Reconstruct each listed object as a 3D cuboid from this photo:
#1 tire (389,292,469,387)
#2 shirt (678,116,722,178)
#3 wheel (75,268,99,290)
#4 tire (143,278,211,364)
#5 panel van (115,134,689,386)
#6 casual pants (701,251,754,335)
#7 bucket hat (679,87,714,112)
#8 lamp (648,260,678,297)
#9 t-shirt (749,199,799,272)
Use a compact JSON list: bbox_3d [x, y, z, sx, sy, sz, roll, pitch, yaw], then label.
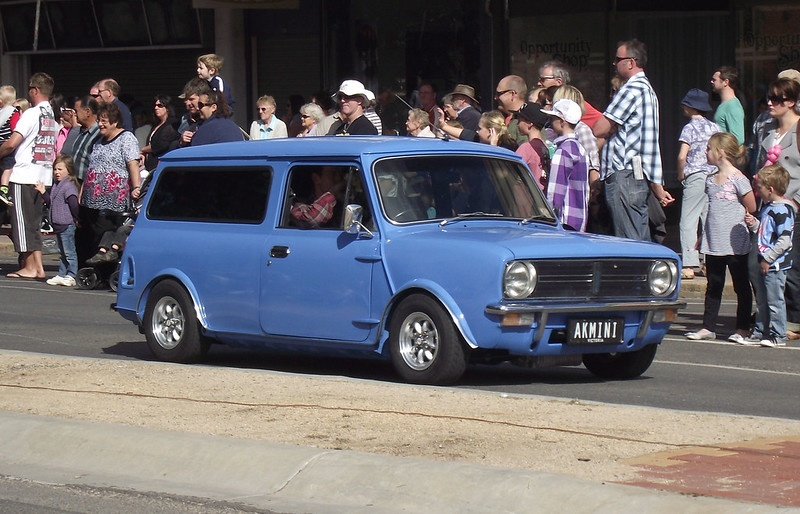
[{"bbox_3d":[0.291,0.747,10.478,0.859,0.879,0.314,2,-2,39],"label":"tire"},{"bbox_3d":[4.519,-1.818,16.938,0.659,0.385,0.843,9,38,29],"label":"shirt"},{"bbox_3d":[-4.896,0.334,17.646,0.305,0.311,0.109,6,7,26],"label":"wheel"},{"bbox_3d":[-2.322,0.663,11.860,0.769,0.839,0.293,10,2,38],"label":"tire"},{"bbox_3d":[0.019,-0.012,11.490,4.747,1.990,2.631,1,1,35],"label":"panel van"},{"bbox_3d":[3.925,0.307,13.457,0.544,1.347,0.347,3,11,22],"label":"casual pants"},{"bbox_3d":[4.352,-2.316,16.577,0.463,0.223,0.406,24,17,26],"label":"bucket hat"},{"bbox_3d":[2.567,0.205,10.931,0.338,0.338,0.082,-5,9,-34],"label":"lamp"},{"bbox_3d":[4.357,-0.235,12.890,0.664,0.949,0.750,0,3,2],"label":"t-shirt"}]
